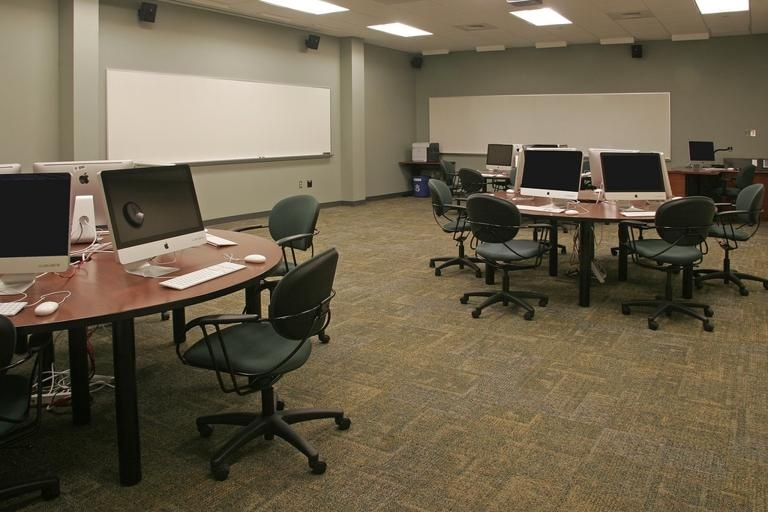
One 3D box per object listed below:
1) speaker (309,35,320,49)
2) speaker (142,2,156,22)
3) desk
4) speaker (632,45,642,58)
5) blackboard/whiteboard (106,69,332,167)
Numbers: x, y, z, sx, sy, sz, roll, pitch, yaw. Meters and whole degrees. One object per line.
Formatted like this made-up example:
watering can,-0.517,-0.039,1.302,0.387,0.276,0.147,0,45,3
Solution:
speaker,-1.371,-4.172,10.324,0.191,0.248,0.283,1,14,19
speaker,-3.428,-3.541,7.661,0.190,0.214,0.247,15,20,20
desk,-1.309,0.297,2.923,1.323,0.743,1.693,7,12,24
speaker,5.257,-4.251,10.974,0.223,0.284,0.151,0,14,16
blackboard/whiteboard,-2.846,-2.277,8.791,0.110,1.379,3.644,8,16,39
